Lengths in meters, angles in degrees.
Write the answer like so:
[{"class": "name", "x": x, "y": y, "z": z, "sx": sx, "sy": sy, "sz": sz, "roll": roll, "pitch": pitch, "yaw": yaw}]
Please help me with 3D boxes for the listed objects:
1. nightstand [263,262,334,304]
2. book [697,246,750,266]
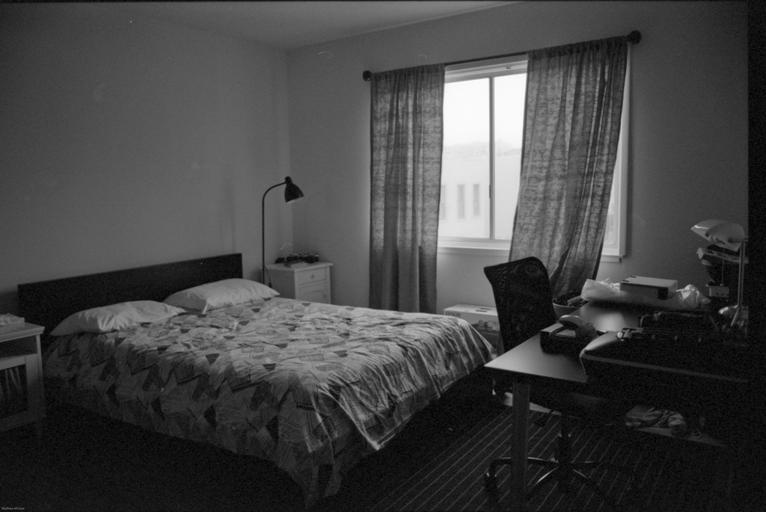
[{"class": "nightstand", "x": -0.644, "y": 0.265, "z": 4.084, "sx": 0.298, "sy": 0.380, "sz": 0.407, "roll": 3, "pitch": 8, "yaw": 36}, {"class": "book", "x": 1.077, "y": -0.001, "z": 1.669, "sx": 0.160, "sy": 0.045, "sz": 0.040, "roll": 13, "pitch": 18, "yaw": -38}]
